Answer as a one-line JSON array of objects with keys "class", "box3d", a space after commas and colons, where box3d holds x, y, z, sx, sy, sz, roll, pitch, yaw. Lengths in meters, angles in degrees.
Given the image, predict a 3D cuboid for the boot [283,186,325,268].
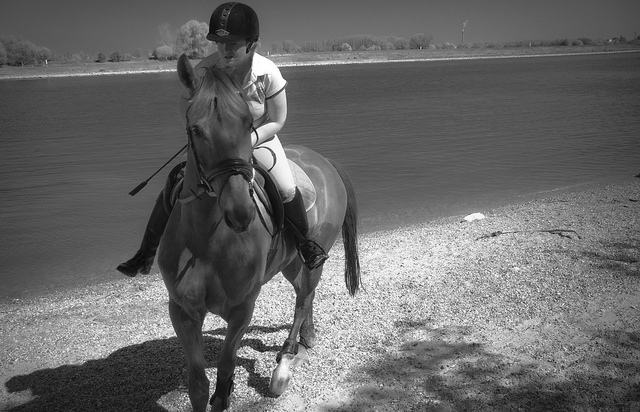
[{"class": "boot", "box3d": [-0.267, 0.305, 7.538, 0.431, 1.485, 0.429, -20, 19, 13]}]
